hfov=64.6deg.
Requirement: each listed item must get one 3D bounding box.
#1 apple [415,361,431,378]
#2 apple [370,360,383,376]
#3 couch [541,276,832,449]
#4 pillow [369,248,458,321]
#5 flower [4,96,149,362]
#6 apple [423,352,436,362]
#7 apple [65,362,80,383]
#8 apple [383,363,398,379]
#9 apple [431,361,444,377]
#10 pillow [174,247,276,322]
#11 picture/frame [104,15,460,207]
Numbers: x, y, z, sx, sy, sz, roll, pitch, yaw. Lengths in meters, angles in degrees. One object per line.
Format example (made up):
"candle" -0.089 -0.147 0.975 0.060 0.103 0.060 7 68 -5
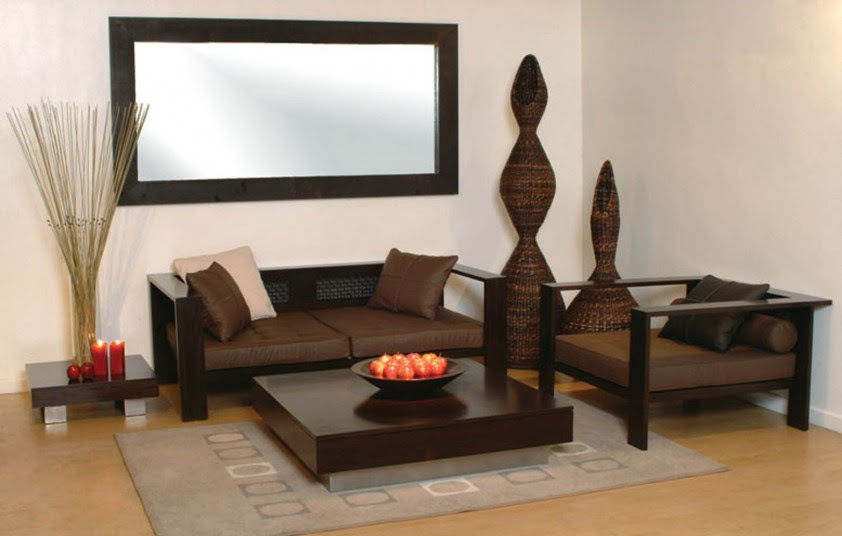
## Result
"apple" 0.009 0.620 4.079 0.097 0.074 0.088 -3 9 -25
"apple" -0.270 0.617 4.117 0.091 0.094 0.095 0 -7 36
"couch" 1.856 0.652 4.901 1.764 0.769 1.510 -1 5 -8
"pillow" -0.064 0.123 5.544 0.712 0.537 0.211 13 -14 39
"flower" -2.630 -0.400 5.259 1.020 1.826 0.977 -6 15 -19
"apple" 0.051 0.569 4.230 0.087 0.035 0.079 1 5 9
"apple" -2.524 0.764 4.834 0.090 0.097 0.091 32 25 30
"apple" -0.188 0.636 4.067 0.084 0.067 0.077 2 -1 4
"apple" 0.110 0.621 4.093 0.090 0.089 0.083 2 11 16
"pillow" -1.649 0.202 5.507 0.209 0.619 0.701 -35 -15 33
"picture/frame" -1.336 -1.399 5.823 2.332 1.058 0.070 -1 5 -18
